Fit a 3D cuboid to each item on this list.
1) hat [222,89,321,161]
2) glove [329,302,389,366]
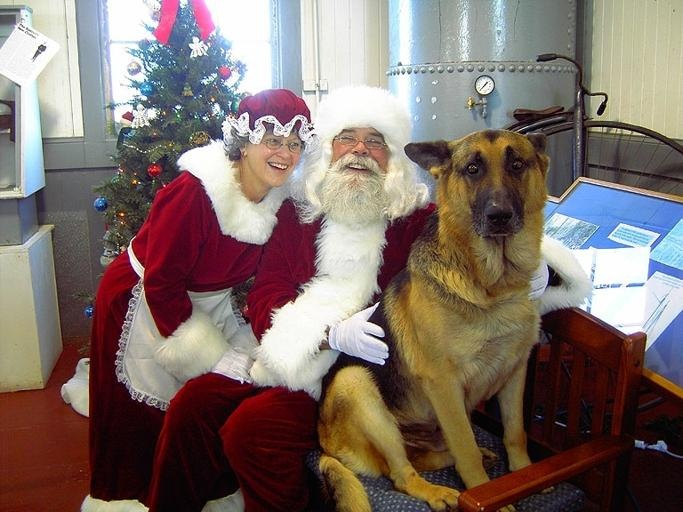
[{"bbox_3d":[-0.420,-0.736,3.030,0.507,0.580,0.271,-6,58,2],"label":"hat"},{"bbox_3d":[0.076,0.367,2.425,0.267,0.224,0.083,-4,14,40],"label":"glove"}]
